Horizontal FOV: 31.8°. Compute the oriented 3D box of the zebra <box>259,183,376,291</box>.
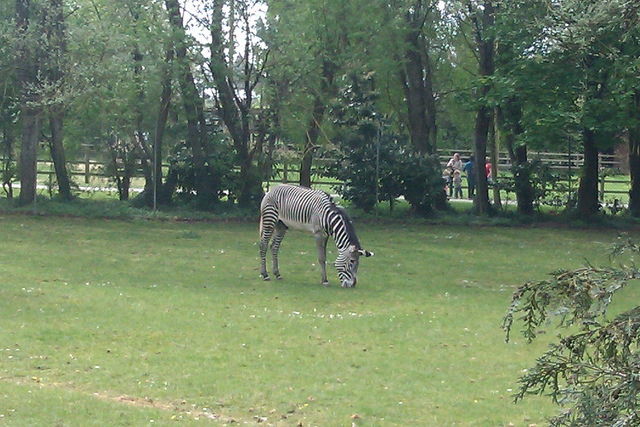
[{"bbox_3d":[-0.321,0.781,36.891,3.508,3.355,1.114,1,3,25],"label":"zebra"}]
